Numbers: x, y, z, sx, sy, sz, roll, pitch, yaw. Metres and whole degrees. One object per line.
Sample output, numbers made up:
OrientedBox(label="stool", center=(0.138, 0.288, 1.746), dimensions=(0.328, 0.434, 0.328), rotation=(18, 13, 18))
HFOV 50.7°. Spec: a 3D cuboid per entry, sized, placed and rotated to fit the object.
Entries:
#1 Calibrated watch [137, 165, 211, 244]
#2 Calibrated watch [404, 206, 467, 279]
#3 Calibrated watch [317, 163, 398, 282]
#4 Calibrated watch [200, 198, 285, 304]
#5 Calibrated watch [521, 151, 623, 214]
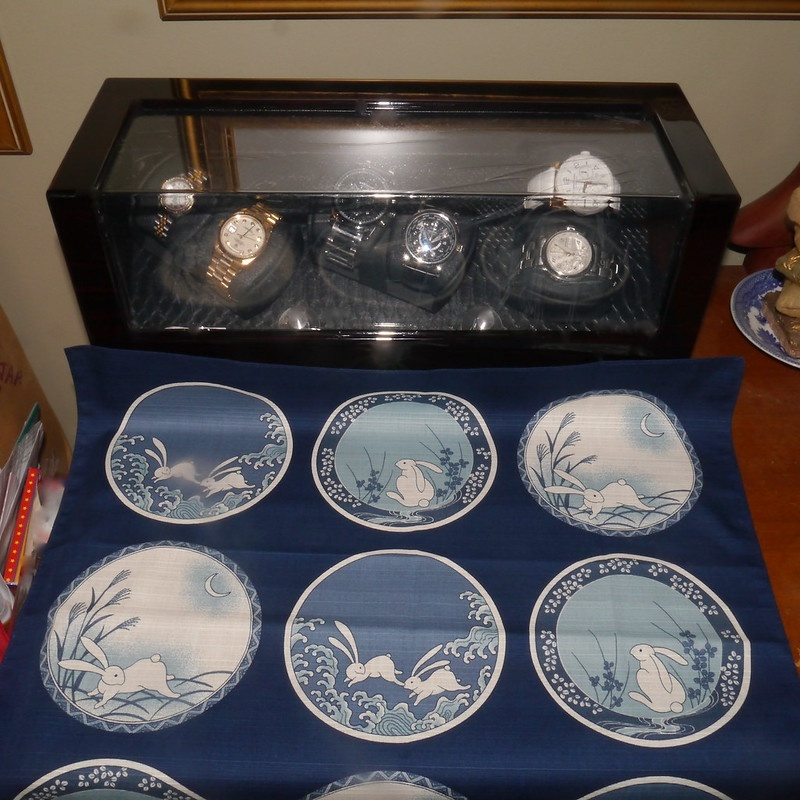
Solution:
OrientedBox(label="Calibrated watch", center=(-0.278, -0.267, 1.083), dimensions=(0.082, 0.132, 0.037), rotation=(-31, 93, -23))
OrientedBox(label="Calibrated watch", center=(0.042, -0.200, 1.140), dimensions=(0.098, 0.082, 0.091), rotation=(14, 27, 3))
OrientedBox(label="Calibrated watch", center=(-0.043, -0.240, 1.130), dimensions=(0.096, 0.127, 0.113), rotation=(12, 46, 11))
OrientedBox(label="Calibrated watch", center=(-0.204, -0.201, 1.099), dimensions=(0.055, 0.087, 0.088), rotation=(42, 85, 11))
OrientedBox(label="Calibrated watch", center=(0.229, -0.288, 1.115), dimensions=(0.119, 0.033, 0.130), rotation=(6, 42, 6))
